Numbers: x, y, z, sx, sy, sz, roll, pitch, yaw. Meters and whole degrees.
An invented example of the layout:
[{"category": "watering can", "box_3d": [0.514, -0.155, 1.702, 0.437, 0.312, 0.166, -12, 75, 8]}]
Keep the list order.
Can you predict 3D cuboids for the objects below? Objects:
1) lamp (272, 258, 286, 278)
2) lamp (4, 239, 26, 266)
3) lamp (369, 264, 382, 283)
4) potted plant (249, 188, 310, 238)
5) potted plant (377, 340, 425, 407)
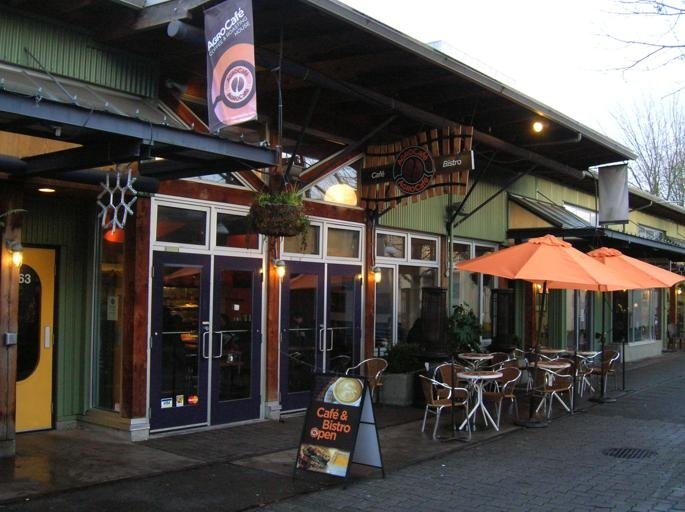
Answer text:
[{"category": "lamp", "box_3d": [-1.080, 0.215, 12.072, 0.161, 0.355, 0.370, 2, 1, 19]}, {"category": "lamp", "box_3d": [-4.359, -0.037, 9.178, 0.145, 0.349, 0.195, 2, 2, 43]}, {"category": "lamp", "box_3d": [0.683, 0.372, 13.997, 0.155, 0.395, 0.576, 2, 1, 20]}, {"category": "potted plant", "box_3d": [-0.984, -0.638, 10.350, 0.707, 0.515, 0.708, -3, -7, 14]}, {"category": "potted plant", "box_3d": [0.988, 2.318, 13.576, 0.945, 1.495, 1.161, -4, -8, 35]}]
